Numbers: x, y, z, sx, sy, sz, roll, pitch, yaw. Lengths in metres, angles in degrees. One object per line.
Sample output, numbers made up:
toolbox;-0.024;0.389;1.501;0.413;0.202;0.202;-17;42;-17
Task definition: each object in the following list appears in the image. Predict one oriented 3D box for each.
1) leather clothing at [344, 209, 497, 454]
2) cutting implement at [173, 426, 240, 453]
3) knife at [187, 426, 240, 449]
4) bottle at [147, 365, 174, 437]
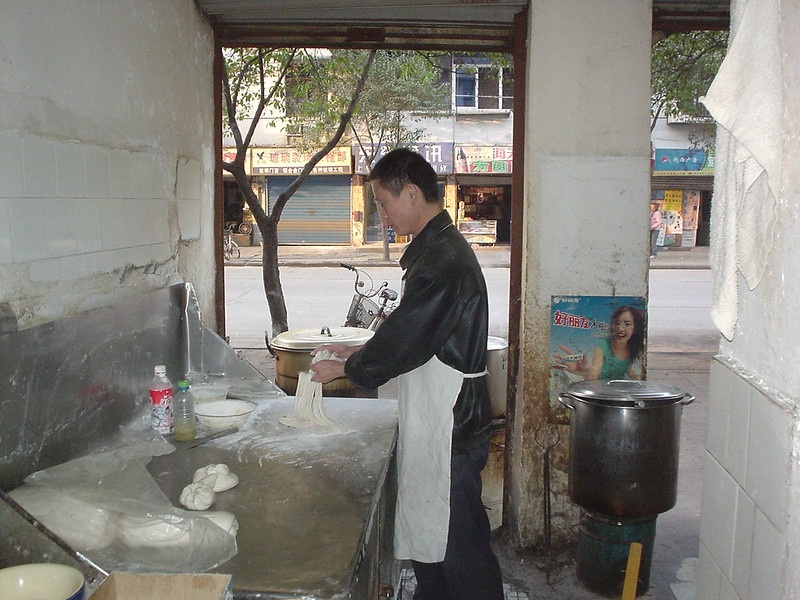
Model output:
leather clothing;0.159;0.074;4.148;0.909;1.584;1.230;4;8;15
cutting implement;-0.993;0.693;3.734;0.070;0.056;0.312;10;23;41
knife;-0.960;0.707;3.752;0.065;0.046;0.335;3;16;35
bottle;-1.242;0.537;3.741;0.133;0.326;0.098;5;11;0
